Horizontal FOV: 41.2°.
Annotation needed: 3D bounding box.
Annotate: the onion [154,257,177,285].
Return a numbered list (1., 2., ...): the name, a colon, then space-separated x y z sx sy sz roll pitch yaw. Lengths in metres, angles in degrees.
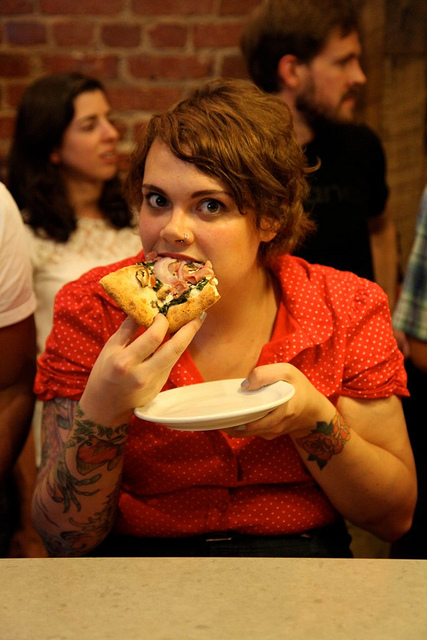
1. onion: -0.083 -0.082 0.959 0.043 0.043 0.016 -2 -19 -21

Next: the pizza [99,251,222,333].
1. pizza: -0.089 -0.047 0.919 0.151 0.053 0.146 -31 51 -28

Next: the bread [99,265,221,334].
1. bread: -0.102 -0.054 0.928 0.168 0.106 0.178 -9 13 -36
